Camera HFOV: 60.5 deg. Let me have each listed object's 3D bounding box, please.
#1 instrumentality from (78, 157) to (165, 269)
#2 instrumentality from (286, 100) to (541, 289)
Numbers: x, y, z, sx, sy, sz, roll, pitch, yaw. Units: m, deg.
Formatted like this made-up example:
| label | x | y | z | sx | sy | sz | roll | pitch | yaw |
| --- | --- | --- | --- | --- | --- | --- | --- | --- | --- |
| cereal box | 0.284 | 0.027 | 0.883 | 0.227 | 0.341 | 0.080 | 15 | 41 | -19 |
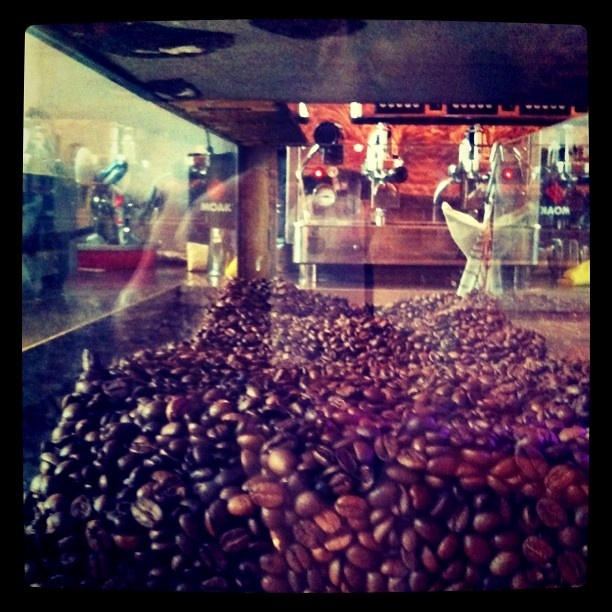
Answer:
| label | x | y | z | sx | sy | sz | roll | pitch | yaw |
| --- | --- | --- | --- | --- | --- | --- | --- | --- | --- |
| instrumentality | -0.389 | -0.186 | 1.090 | 0.182 | 0.234 | 0.083 | 2 | 6 | 11 |
| instrumentality | 0.325 | -0.292 | 1.324 | 0.479 | 0.443 | 0.267 | 9 | 6 | 31 |
